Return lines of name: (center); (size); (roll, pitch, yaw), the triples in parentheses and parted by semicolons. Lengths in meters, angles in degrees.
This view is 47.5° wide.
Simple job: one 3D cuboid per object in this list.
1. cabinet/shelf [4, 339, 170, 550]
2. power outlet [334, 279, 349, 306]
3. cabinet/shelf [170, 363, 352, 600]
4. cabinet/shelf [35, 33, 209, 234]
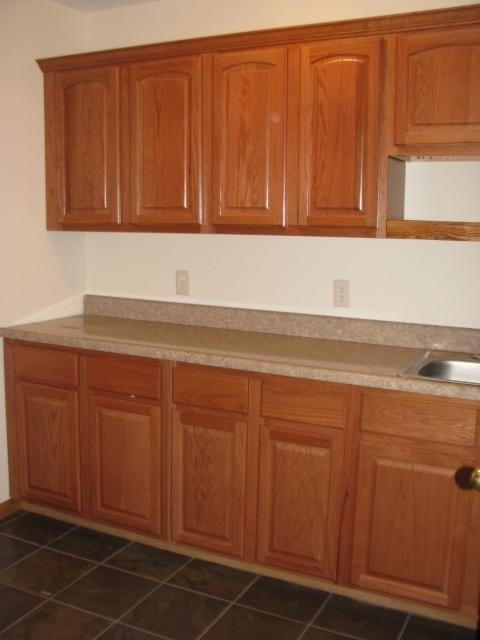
cabinet/shelf: (-0.608, 0.502, 2.254); (0.748, 0.730, 0.324); (4, 6, 26)
power outlet: (0.422, -0.111, 2.266); (0.067, 0.113, 0.016); (4, 6, 41)
cabinet/shelf: (0.093, 0.547, 1.905); (0.731, 0.792, 0.267); (3, 5, 25)
cabinet/shelf: (-0.488, -0.787, 2.317); (0.888, 0.830, 0.304); (1, 3, 24)
